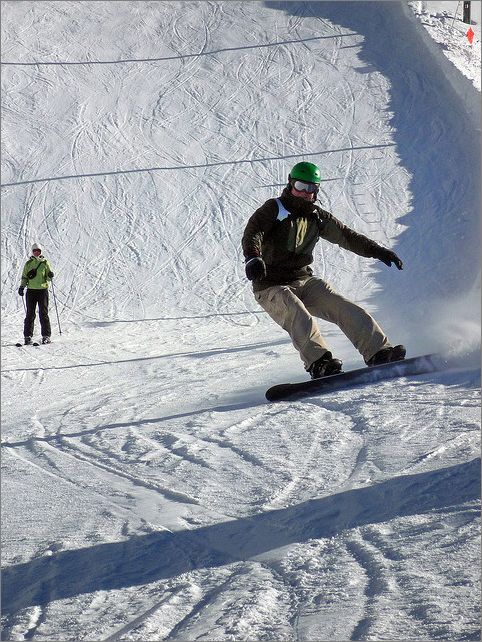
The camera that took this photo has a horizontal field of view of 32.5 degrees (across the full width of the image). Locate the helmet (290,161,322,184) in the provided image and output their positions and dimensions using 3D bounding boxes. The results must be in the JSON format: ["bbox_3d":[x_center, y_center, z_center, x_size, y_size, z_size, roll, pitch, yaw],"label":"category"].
[{"bbox_3d":[0.395,-0.895,4.996,0.139,0.121,0.168,10,20,-4],"label":"helmet"}]

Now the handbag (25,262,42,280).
[{"bbox_3d":[-2.481,-0.607,9.925,0.138,0.182,0.073,20,-4,-17],"label":"handbag"}]

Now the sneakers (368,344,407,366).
[{"bbox_3d":[0.861,0.200,4.827,0.182,0.064,0.126,-24,0,13],"label":"sneakers"}]

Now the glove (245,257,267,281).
[{"bbox_3d":[0.084,-0.296,4.679,0.128,0.120,0.054,0,3,1],"label":"glove"}]

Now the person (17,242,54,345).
[{"bbox_3d":[-2.475,-0.344,9.960,0.480,1.185,0.885,-11,7,-11],"label":"person"}]

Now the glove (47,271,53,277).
[{"bbox_3d":[-2.275,-0.568,9.964,0.084,0.068,0.018,0,-3,11],"label":"glove"}]

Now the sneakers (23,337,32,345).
[{"bbox_3d":[-2.491,0.237,9.727,0.062,0.105,0.165,-1,-10,-7],"label":"sneakers"}]
